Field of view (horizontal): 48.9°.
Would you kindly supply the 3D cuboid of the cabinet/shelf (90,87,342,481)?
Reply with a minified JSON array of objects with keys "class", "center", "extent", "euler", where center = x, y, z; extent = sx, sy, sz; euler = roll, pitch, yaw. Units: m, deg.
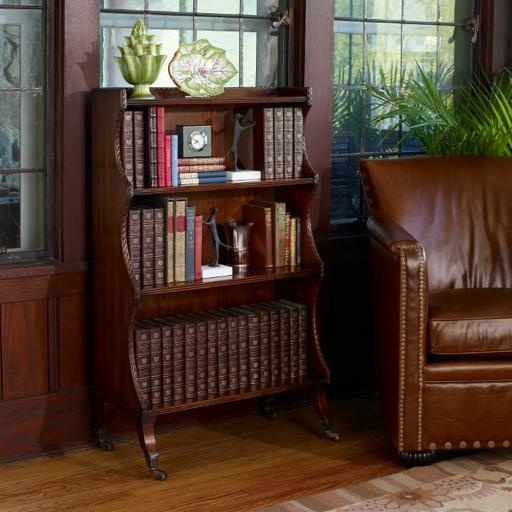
[{"class":"cabinet/shelf","center":[-0.118,0.055,2.070],"extent":[0.827,1.236,0.514],"euler":[-3,7,-36]}]

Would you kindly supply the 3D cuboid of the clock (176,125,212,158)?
[{"class":"clock","center":[-0.210,-0.432,2.112],"extent":[0.118,0.100,0.062],"euler":[5,11,19]}]

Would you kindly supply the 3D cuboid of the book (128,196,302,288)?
[{"class":"book","center":[-0.179,-0.068,2.168],"extent":[0.783,0.313,0.281],"euler":[-3,4,-37]}]
